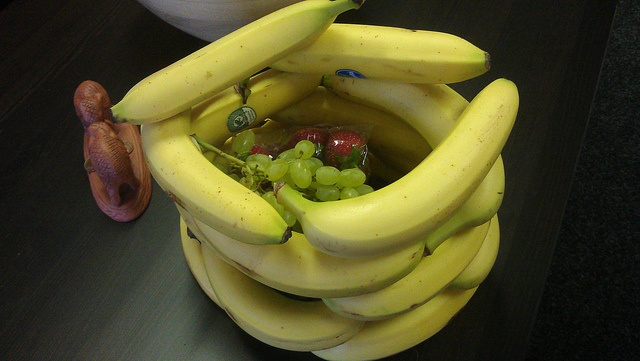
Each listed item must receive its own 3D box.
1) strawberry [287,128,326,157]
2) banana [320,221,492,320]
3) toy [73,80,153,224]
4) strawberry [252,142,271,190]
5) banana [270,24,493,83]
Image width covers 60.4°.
[{"bbox_3d":[-0.040,-0.108,1.607,0.097,0.056,0.077,4,38,-1],"label":"strawberry"},{"bbox_3d":[0.292,0.230,1.563,0.525,0.137,0.175,11,58,-30],"label":"banana"},{"bbox_3d":[-0.643,-0.070,1.754,0.236,0.257,0.476,-14,66,-11],"label":"toy"},{"bbox_3d":[-0.167,-0.045,1.557,0.061,0.058,0.125,-7,66,-3],"label":"strawberry"},{"bbox_3d":[0.145,-0.342,1.517,0.580,0.143,0.156,7,69,10],"label":"banana"}]
